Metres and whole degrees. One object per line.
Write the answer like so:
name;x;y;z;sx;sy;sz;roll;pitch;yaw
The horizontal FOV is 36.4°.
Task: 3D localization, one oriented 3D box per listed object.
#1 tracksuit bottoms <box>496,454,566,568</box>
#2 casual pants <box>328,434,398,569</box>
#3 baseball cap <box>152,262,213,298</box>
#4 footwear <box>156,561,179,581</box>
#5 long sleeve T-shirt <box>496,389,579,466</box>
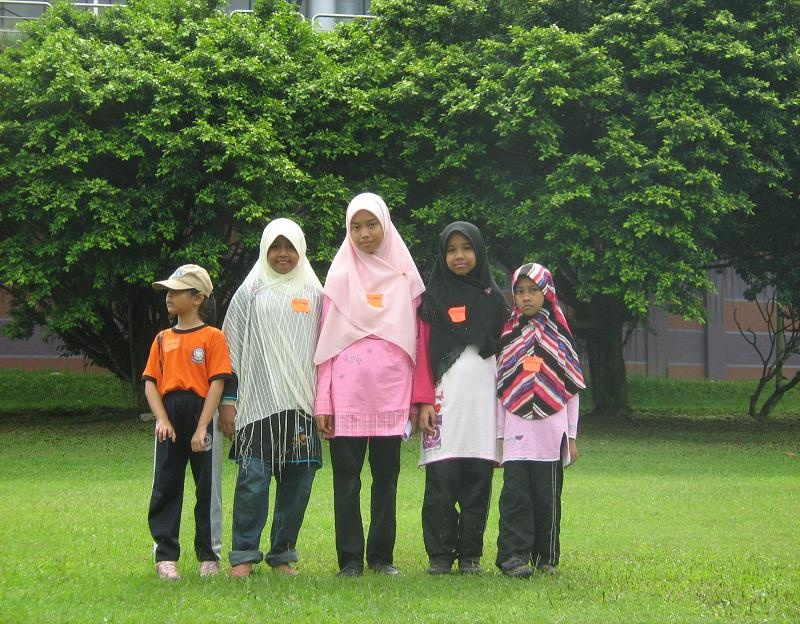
tracksuit bottoms;1.216;1.897;11.464;0.593;1.362;0.399;2;26;1
casual pants;-0.331;1.780;11.297;0.661;1.227;0.223;0;-4;-1
baseball cap;-2.007;-0.298;11.359;0.459;0.258;0.280;4;-4;-29
footwear;-2.094;2.358;10.987;0.205;0.161;0.195;1;-5;-11
long sleeve T-shirt;1.293;1.026;11.603;0.855;0.875;0.487;-4;-5;20
